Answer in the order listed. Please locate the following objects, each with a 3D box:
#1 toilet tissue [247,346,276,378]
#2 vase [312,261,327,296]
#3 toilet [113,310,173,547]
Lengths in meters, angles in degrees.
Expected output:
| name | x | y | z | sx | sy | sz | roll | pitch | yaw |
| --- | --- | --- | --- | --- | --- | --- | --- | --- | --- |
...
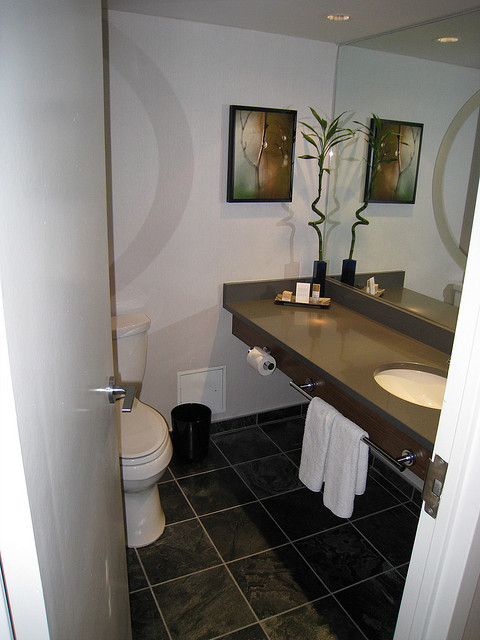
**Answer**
| name | x | y | z | sx | sy | sz | roll | pitch | yaw |
| --- | --- | --- | --- | --- | --- | --- | --- | --- | --- |
| toilet tissue | 0.095 | 0.199 | 2.174 | 0.081 | 0.090 | 0.159 | -10 | 18 | -37 |
| vase | 0.441 | -0.201 | 2.578 | 0.082 | 0.196 | 0.230 | 3 | 14 | 11 |
| toilet | -0.398 | 0.463 | 1.957 | 0.233 | 0.797 | 0.699 | -3 | 14 | -15 |
